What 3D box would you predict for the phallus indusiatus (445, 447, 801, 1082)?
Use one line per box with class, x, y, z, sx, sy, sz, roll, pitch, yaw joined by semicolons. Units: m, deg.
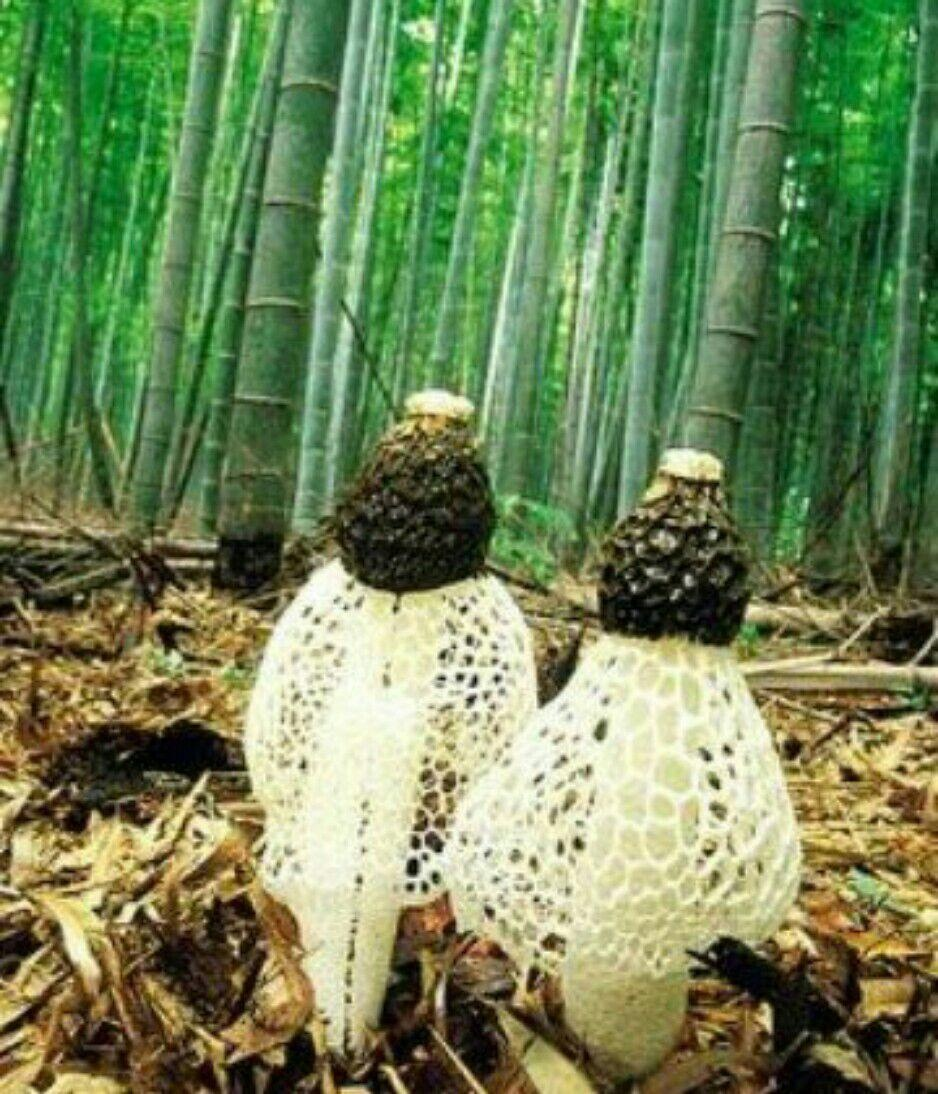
phallus indusiatus;0.169;0.227;1.255;0.339;0.624;0.146;12;3;21
